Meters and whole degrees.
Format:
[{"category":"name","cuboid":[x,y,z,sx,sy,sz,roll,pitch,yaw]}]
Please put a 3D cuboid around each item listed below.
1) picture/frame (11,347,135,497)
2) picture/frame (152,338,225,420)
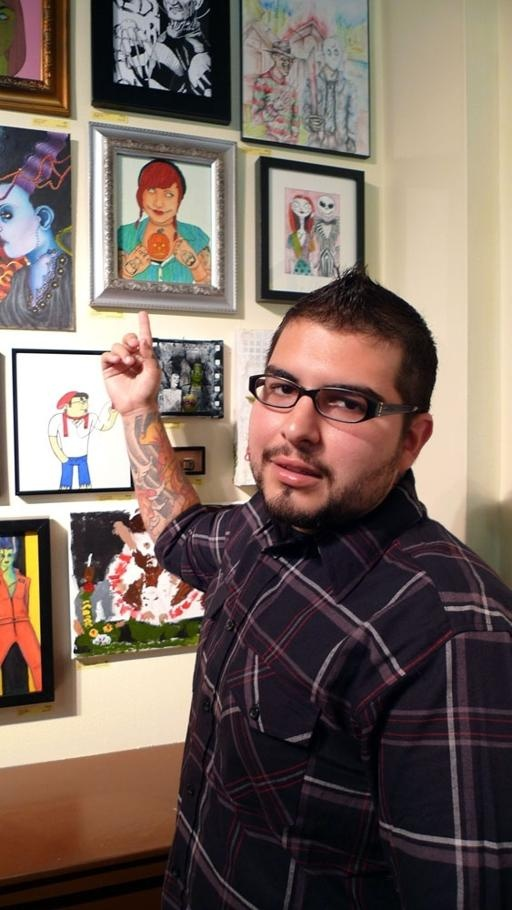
[{"category":"picture/frame","cuboid":[-0.365,-0.072,1.380,0.268,0.377,0.015,-2,2,-22]},{"category":"picture/frame","cuboid":[-0.144,-0.158,1.450,0.164,0.177,0.017,0,4,-26]}]
